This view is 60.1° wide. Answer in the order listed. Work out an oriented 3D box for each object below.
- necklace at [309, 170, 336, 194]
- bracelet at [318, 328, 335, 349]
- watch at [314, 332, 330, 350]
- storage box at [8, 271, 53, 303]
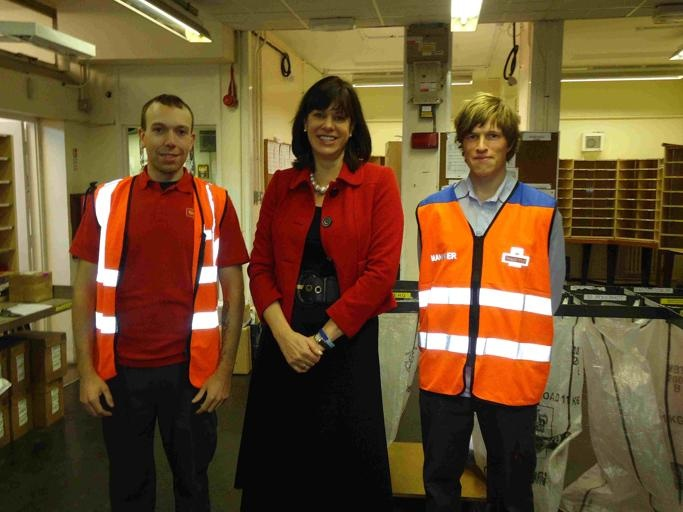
[{"bbox_3d":[-0.106,-0.345,2.782,0.082,0.103,0.034,-1,-29,-14],"label":"necklace"},{"bbox_3d":[-0.076,0.378,2.642,0.042,0.087,0.064,-21,28,12],"label":"bracelet"},{"bbox_3d":[-0.080,0.381,2.642,0.039,0.059,0.079,-25,-29,9],"label":"watch"},{"bbox_3d":[-2.420,0.229,4.594,0.238,0.228,0.235,-1,3,1],"label":"storage box"}]
